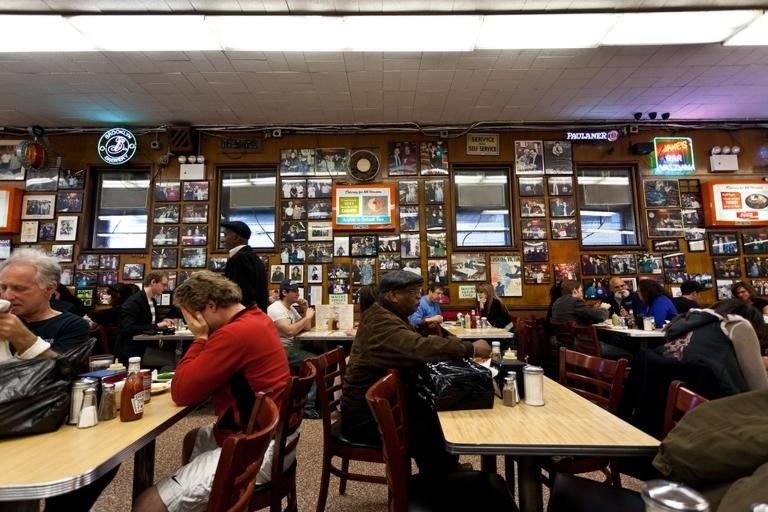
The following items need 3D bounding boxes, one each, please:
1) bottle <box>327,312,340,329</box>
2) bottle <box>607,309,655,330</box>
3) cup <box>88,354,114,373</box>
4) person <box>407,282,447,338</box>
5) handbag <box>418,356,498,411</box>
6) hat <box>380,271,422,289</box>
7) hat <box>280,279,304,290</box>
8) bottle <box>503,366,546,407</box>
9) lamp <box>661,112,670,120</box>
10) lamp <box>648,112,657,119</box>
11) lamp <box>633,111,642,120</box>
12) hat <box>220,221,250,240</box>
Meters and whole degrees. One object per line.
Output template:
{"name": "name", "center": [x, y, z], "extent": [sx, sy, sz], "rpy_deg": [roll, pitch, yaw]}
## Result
{"name": "bottle", "center": [-0.723, 0.968, 7.198], "extent": [0.170, 0.281, 0.301], "rpy_deg": [-1, -2, 1]}
{"name": "bottle", "center": [3.459, 0.936, 7.070], "extent": [0.021, 0.179, 0.568], "rpy_deg": [13, -2, -28]}
{"name": "cup", "center": [-2.377, 0.905, 4.238], "extent": [0.165, 0.162, 0.158], "rpy_deg": [0, -4, 0]}
{"name": "person", "center": [0.706, 0.857, 7.616], "extent": [0.514, 0.881, 0.644], "rpy_deg": [8, 3, 41]}
{"name": "handbag", "center": [0.605, 1.054, 4.190], "extent": [0.547, 0.296, 0.674], "rpy_deg": [6, 0, -11]}
{"name": "hat", "center": [0.143, 0.212, 4.444], "extent": [0.254, 0.086, 0.202], "rpy_deg": [1, 1, 17]}
{"name": "hat", "center": [-1.275, 0.402, 6.724], "extent": [0.273, 0.094, 0.171], "rpy_deg": [-2, 0, 17]}
{"name": "bottle", "center": [1.113, 1.043, 4.021], "extent": [0.332, 0.298, 0.174], "rpy_deg": [-2, 1, -4]}
{"name": "lamp", "center": [4.556, -2.256, 8.111], "extent": [0.103, 0.109, 0.111], "rpy_deg": [4, 21, 3]}
{"name": "lamp", "center": [4.361, -2.282, 8.139], "extent": [0.101, 0.072, 0.093], "rpy_deg": [-1, 3, 14]}
{"name": "lamp", "center": [4.107, -2.275, 8.124], "extent": [0.103, 0.075, 0.102], "rpy_deg": [1, 0, -4]}
{"name": "hat", "center": [-1.832, -0.343, 6.113], "extent": [0.315, 0.137, 0.232], "rpy_deg": [25, 2, 1]}
